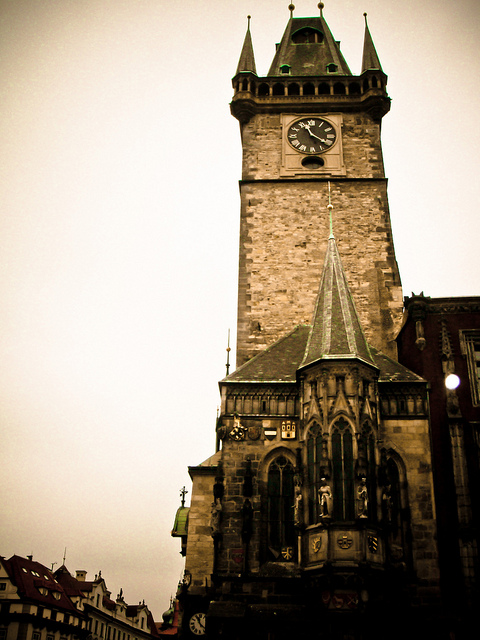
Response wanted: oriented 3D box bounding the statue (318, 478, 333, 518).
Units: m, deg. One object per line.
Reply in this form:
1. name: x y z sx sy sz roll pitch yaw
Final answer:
1. statue: 2.363 4.891 21.749 0.383 1.158 0.342 1 -33 8

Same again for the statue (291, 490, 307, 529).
1. statue: 1.740 5.375 22.488 0.392 1.156 0.180 0 -33 11

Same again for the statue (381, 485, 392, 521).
1. statue: 4.204 5.233 22.628 0.168 1.124 0.507 -11 -37 25

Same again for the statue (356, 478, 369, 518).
1. statue: 3.327 4.849 21.564 0.292 1.167 0.240 5 -33 3

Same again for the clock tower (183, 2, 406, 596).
1. clock tower: 2.889 -4.211 35.608 7.335 33.699 3.228 9 -33 -4

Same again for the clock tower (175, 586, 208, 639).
1. clock tower: -1.496 9.273 24.947 1.117 1.686 1.257 0 -30 0
